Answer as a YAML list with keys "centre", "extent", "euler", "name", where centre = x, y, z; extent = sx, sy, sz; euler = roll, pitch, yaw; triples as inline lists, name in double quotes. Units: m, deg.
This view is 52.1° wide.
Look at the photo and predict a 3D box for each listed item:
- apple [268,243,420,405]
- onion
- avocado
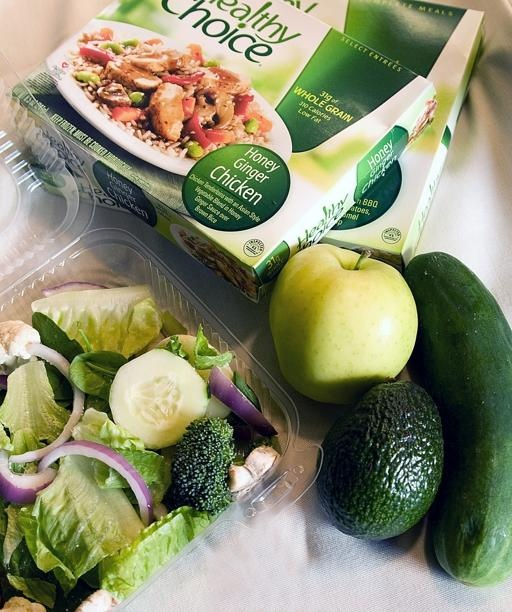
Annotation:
- centre: [0.121, 0.024, 0.727]
  extent: [0.182, 0.191, 0.173]
  euler: [15, 37, 34]
  name: "apple"
- centre: [-0.006, 0.108, 0.666]
  extent: [0.092, 0.071, 0.069]
  euler: [18, 24, 41]
  name: "onion"
- centre: [0.141, 0.165, 0.619]
  extent: [0.135, 0.103, 0.177]
  euler: [29, 85, -15]
  name: "avocado"
